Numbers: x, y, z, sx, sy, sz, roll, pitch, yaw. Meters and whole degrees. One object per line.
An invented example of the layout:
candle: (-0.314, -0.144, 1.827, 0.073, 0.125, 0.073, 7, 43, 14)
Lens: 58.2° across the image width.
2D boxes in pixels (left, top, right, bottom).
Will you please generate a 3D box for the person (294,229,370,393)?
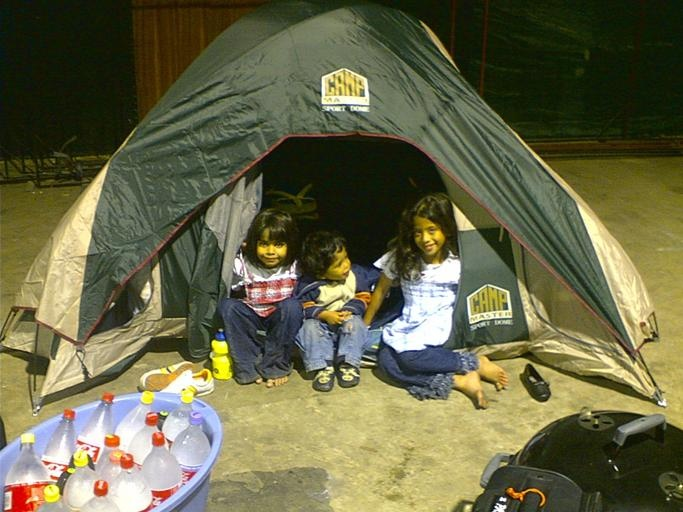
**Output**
person: (-0.058, 0.338, 3.521, 0.639, 0.776, 0.337, -1, -24, -5)

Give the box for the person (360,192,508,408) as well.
person: (0.541, 0.191, 3.458, 0.708, 0.994, 0.845, -9, 19, -25)

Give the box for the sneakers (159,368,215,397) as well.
sneakers: (-0.864, 0.679, 3.384, 0.332, 0.124, 0.116, -1, 6, -19)

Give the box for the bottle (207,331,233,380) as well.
bottle: (-0.692, 0.559, 3.581, 0.139, 0.291, 0.131, -2, 16, 0)

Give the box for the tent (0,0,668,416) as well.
tent: (-0.157, -0.409, 3.878, 4.191, 2.351, 1.546, 2, 5, -1)

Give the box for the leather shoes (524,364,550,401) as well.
leather shoes: (1.062, 0.685, 3.376, 0.081, 0.076, 0.209, -6, 30, -6)
